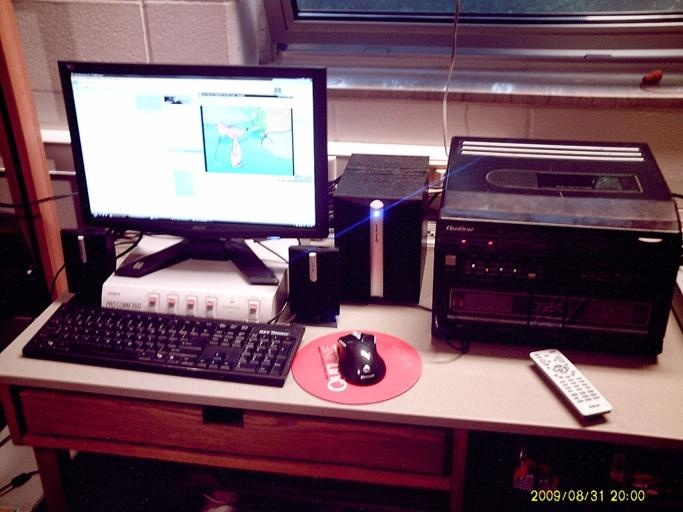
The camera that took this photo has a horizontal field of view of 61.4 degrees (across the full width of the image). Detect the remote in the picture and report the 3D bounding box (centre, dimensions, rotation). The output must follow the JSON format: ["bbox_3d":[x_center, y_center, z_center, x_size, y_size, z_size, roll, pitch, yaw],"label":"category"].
[{"bbox_3d":[0.491,0.266,1.233,0.074,0.027,0.155,-12,35,-14],"label":"remote"}]

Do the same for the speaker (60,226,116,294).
[{"bbox_3d":[-0.657,0.018,1.498,0.119,0.172,0.085,2,15,0],"label":"speaker"}]

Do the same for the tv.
[{"bbox_3d":[-0.362,-0.214,1.477,0.664,0.521,0.199,3,19,9],"label":"tv"}]

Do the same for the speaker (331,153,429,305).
[{"bbox_3d":[0.135,-0.110,1.703,0.289,0.511,0.374,6,16,9],"label":"speaker"}]

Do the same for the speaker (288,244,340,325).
[{"bbox_3d":[-0.065,0.070,1.462,0.134,0.199,0.141,-2,14,-4],"label":"speaker"}]

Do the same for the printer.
[{"bbox_3d":[0.494,-0.022,1.354,0.488,0.334,0.517,5,39,13],"label":"printer"}]

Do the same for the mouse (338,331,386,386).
[{"bbox_3d":[0.040,0.215,1.300,0.111,0.050,0.161,-6,30,-15],"label":"mouse"}]
